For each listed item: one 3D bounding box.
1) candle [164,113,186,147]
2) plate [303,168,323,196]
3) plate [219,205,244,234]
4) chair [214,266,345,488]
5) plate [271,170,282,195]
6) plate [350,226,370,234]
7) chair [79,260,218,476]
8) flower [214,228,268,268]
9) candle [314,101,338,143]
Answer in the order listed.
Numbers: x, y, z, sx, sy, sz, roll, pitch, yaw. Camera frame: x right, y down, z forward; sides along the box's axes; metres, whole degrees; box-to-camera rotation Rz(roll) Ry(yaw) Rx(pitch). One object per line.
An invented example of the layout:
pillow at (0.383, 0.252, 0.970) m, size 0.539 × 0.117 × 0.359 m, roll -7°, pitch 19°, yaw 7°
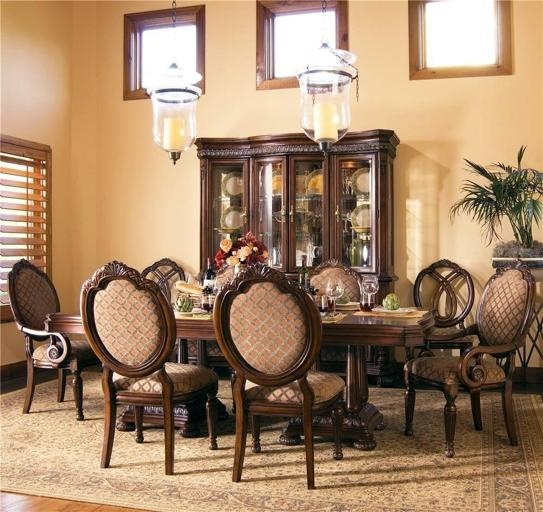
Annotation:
candle at (-0.519, -0.675, 3.032) m, size 0.118 × 0.181 × 0.110 m, roll -3°, pitch 1°, yaw -16°
plate at (0.349, -0.642, 4.806) m, size 0.196 × 0.204 × 0.033 m, roll 28°, pitch 12°, yaw 17°
plate at (-0.365, -0.342, 4.977) m, size 0.294 × 0.316 × 0.073 m, roll -3°, pitch 4°, yaw 7°
chair at (0.038, 0.532, 2.605) m, size 0.499 × 0.981 × 0.576 m, roll 0°, pitch 0°, yaw 21°
plate at (0.043, -0.651, 4.896) m, size 0.152 × 0.162 × 0.037 m, roll -9°, pitch -1°, yaw 30°
plate at (0.754, -0.226, 4.704) m, size 0.162 × 0.059 × 0.017 m, roll -1°, pitch 0°, yaw 28°
chair at (-0.609, 0.530, 2.793) m, size 0.481 × 1.033 × 0.583 m, roll 0°, pitch 0°, yaw 20°
flower at (-0.176, -0.009, 3.235) m, size 0.224 × 0.205 × 0.233 m, roll 11°, pitch 19°, yaw 21°
candle at (0.276, -0.688, 2.853) m, size 0.130 × 0.203 × 0.101 m, roll 0°, pitch 0°, yaw 4°
